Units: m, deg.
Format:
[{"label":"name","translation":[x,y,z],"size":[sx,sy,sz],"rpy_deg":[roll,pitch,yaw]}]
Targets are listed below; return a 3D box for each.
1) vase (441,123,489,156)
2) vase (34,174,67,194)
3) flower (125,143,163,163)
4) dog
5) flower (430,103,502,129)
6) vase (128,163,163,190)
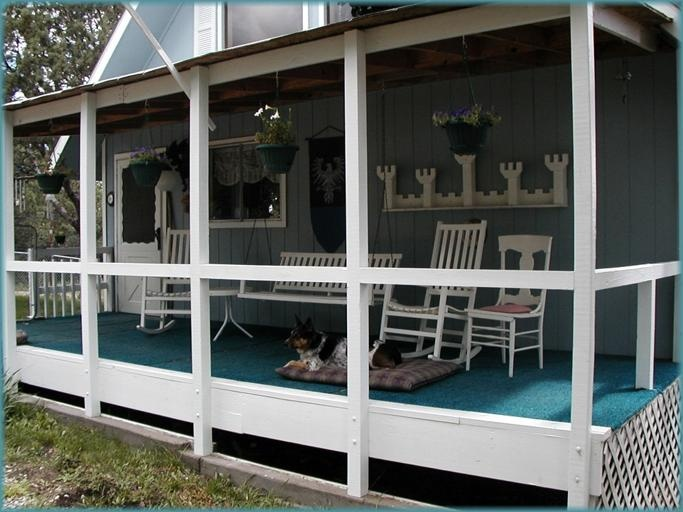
[{"label":"vase","translation":[1.179,-1.095,5.440],"size":[0.421,0.275,0.430],"rpy_deg":[-2,4,-2]},{"label":"vase","translation":[-4.009,-1.062,8.139],"size":[0.332,0.223,0.335],"rpy_deg":[-4,-10,10]},{"label":"flower","translation":[-2.488,-1.307,7.450],"size":[0.359,0.256,0.366],"rpy_deg":[-1,1,-31]},{"label":"dog","translation":[-0.087,0.772,5.170],"size":[1.310,0.690,0.423],"rpy_deg":[2,-11,5]},{"label":"flower","translation":[1.187,-1.268,5.495],"size":[0.502,0.237,0.577],"rpy_deg":[3,5,13]},{"label":"vase","translation":[-2.476,-1.059,7.495],"size":[0.336,0.237,0.337],"rpy_deg":[1,-5,-18]}]
